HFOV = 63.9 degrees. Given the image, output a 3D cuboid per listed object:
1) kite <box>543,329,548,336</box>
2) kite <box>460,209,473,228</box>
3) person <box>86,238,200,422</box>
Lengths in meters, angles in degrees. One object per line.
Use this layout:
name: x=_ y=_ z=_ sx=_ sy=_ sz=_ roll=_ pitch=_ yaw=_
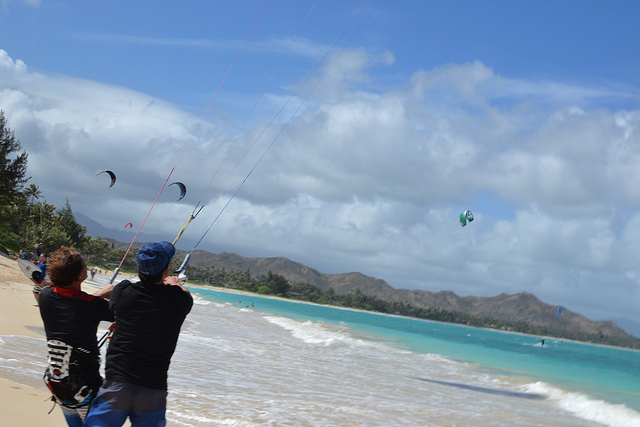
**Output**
kite: x=121.205 y=64.235 z=277.279 sx=0.622 sy=2.595 sz=2.608 roll=51 pitch=-2 yaw=-28
kite: x=4.723 y=0.158 z=16.794 sx=0.304 sy=0.735 sz=0.569 roll=8 pitch=-8 yaw=-22
person: x=-2.437 y=1.688 z=7.186 sx=1.044 sy=2.604 sz=0.440 roll=14 pitch=-10 yaw=-14
